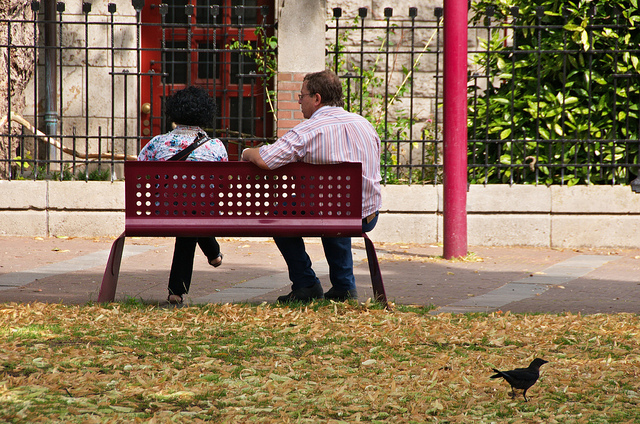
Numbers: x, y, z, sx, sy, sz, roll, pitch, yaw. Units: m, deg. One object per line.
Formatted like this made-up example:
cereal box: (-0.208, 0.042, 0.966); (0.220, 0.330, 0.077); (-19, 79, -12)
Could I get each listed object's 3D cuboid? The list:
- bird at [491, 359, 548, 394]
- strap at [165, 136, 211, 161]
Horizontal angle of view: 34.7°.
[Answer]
bird: (1.683, 1.396, 8.681); (0.485, 0.310, 0.171); (5, -13, -9)
strap: (-1.354, -0.647, 10.422); (0.412, 0.057, 0.061); (-31, -15, -6)
